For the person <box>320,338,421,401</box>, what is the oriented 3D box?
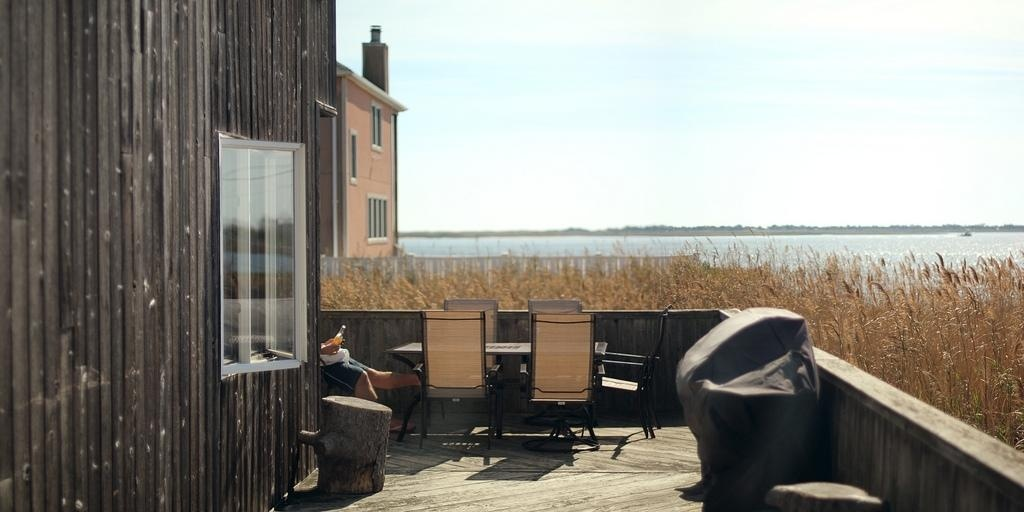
[{"bbox_3d":[-2.269,1.684,14.612,1.732,0.858,0.662,14,-6,26],"label":"person"}]
